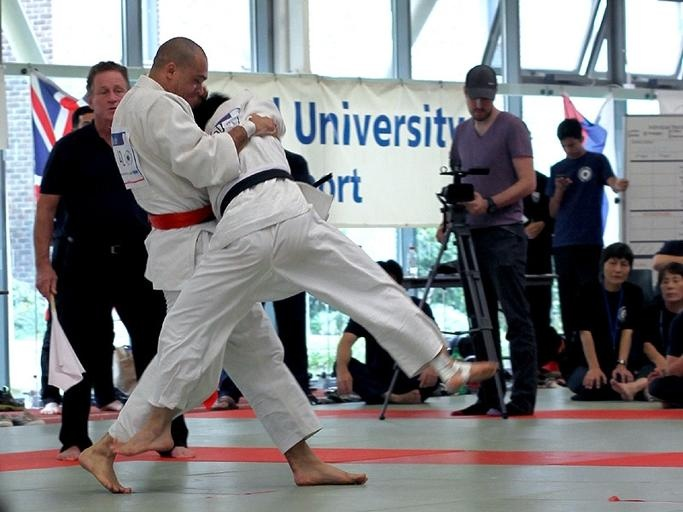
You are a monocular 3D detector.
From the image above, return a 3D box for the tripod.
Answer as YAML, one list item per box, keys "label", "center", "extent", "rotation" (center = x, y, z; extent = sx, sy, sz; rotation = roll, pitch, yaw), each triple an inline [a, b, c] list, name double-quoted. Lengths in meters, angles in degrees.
- label: "tripod"
  center: [0.884, 0.410, 5.693]
  extent: [1.075, 1.317, 0.849]
  rotation: [-5, 6, -37]

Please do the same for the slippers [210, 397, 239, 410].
- label: "slippers"
  center: [-0.953, 1.204, 6.716]
  extent: [0.142, 0.039, 0.137]
  rotation: [-6, 9, 16]

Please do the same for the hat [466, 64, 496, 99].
- label: "hat"
  center: [0.951, -1.218, 5.641]
  extent: [0.244, 0.174, 0.321]
  rotation: [2, 36, -1]

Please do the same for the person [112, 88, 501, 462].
- label: "person"
  center: [-0.244, 0.124, 3.423]
  extent: [1.431, 1.245, 0.328]
  rotation: [-4, 6, -1]
